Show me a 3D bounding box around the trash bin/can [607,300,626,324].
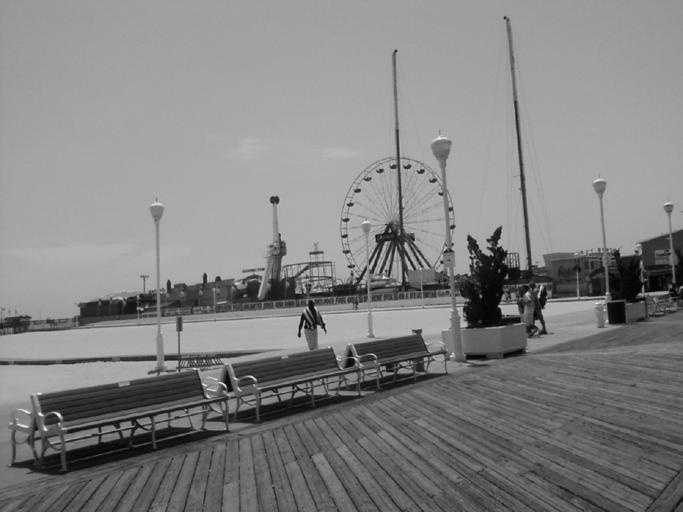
[{"bbox_3d":[9.078,1.862,23.141,0.619,1.055,0.627,1,-4,-36],"label":"trash bin/can"}]
